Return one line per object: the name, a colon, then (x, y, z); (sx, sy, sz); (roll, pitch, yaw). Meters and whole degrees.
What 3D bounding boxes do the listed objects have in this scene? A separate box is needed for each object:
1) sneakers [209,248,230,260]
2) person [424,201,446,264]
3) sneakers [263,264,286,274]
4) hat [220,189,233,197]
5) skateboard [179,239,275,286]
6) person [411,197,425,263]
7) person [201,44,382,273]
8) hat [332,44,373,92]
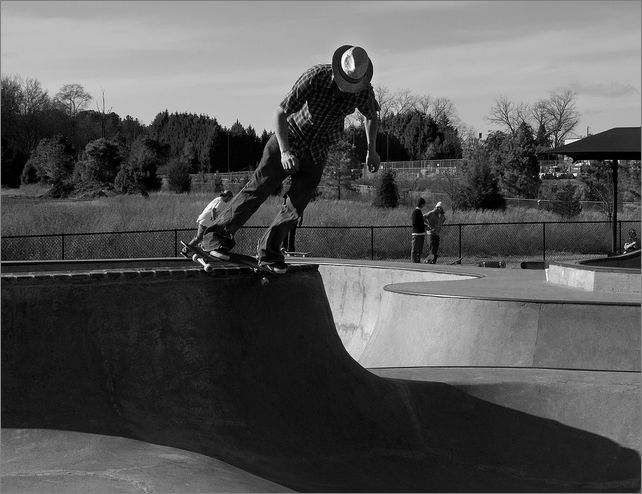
sneakers: (-0.795, 0.042, 5.756); (0.135, 0.071, 0.068); (16, 8, 20)
person: (2.667, -0.325, 17.379); (0.439, 1.493, 1.198); (0, 4, 9)
sneakers: (-0.343, 0.159, 5.535); (0.121, 0.052, 0.084); (11, -4, 3)
hat: (-1.624, -0.922, 12.566); (0.112, 0.148, 0.155); (-9, -38, 44)
skateboard: (-0.729, 0.108, 5.762); (0.869, 0.145, 0.341); (27, -4, -10)
person: (2.193, -0.378, 16.496); (0.299, 1.445, 1.217); (0, 4, 8)
person: (-0.212, -0.711, 5.876); (1.405, 1.732, 1.001); (0, 4, 0)
hat: (0.237, -1.392, 5.705); (0.303, 0.357, 0.219); (0, 4, 1)
